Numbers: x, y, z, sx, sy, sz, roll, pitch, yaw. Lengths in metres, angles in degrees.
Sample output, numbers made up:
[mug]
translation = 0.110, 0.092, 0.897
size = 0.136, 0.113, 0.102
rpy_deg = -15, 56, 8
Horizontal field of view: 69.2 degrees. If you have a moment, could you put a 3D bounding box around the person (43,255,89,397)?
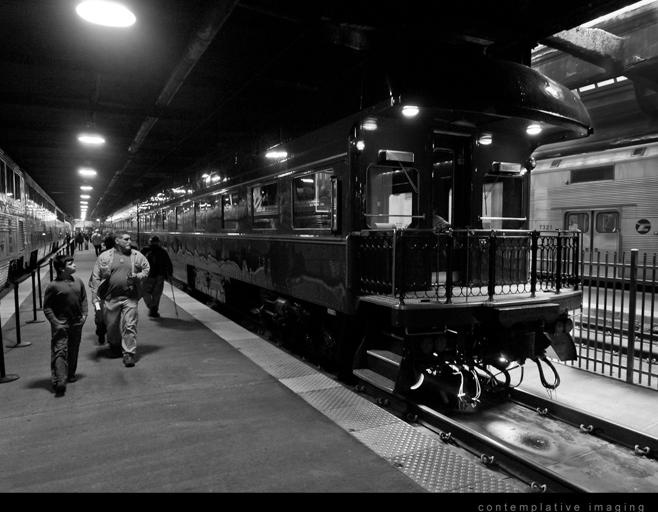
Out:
[person]
translation = -3.632, 0.901, 6.592
size = 0.470, 1.825, 0.616
rpy_deg = 0, 1, 20

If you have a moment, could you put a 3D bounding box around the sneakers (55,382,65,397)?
[sneakers]
translation = -3.532, 1.757, 6.273
size = 0.072, 0.162, 0.217
rpy_deg = 1, -3, -30

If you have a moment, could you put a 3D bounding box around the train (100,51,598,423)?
[train]
translation = -0.913, -0.619, 13.040
size = 3.259, 4.402, 15.432
rpy_deg = -1, 4, -21
